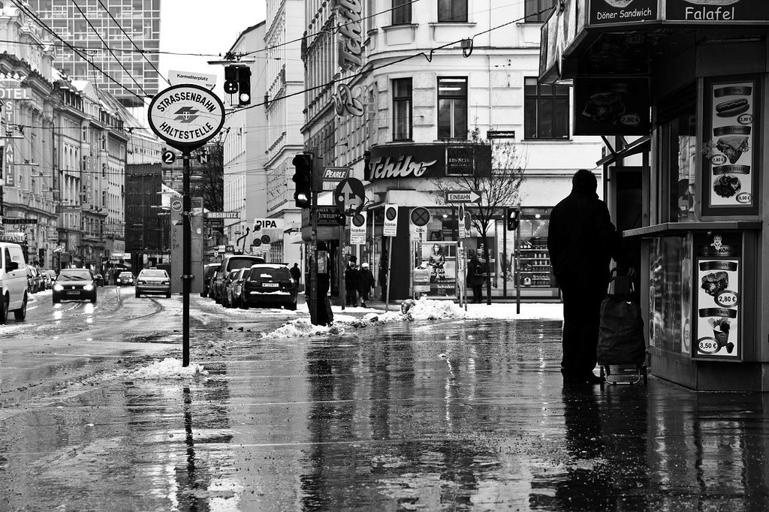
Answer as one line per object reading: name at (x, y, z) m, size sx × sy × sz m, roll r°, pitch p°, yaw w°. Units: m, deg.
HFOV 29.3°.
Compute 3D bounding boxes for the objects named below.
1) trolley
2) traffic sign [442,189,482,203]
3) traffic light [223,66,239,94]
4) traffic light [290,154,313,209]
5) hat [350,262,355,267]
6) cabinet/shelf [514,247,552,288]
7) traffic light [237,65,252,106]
trolley at (3.334, 0.972, 20.567) m, size 0.705 × 1.663 × 0.484 m, roll 1°, pitch -4°, yaw -3°
traffic sign at (2.210, -1.639, 41.474) m, size 0.889 × 0.390 × 0.998 m, roll 0°, pitch -5°, yaw 12°
traffic light at (-3.849, -4.459, 37.285) m, size 0.324 × 0.807 × 0.774 m, roll 1°, pitch -4°, yaw -6°
traffic light at (-1.811, -1.707, 33.149) m, size 0.438 × 1.239 × 1.060 m, roll 1°, pitch -4°, yaw -3°
hat at (-1.068, 0.330, 51.081) m, size 0.124 × 0.158 × 0.166 m, roll -1°, pitch -23°, yaw 2°
cabinet/shelf at (5.457, 0.462, 51.833) m, size 0.475 × 1.397 × 1.502 m, roll 4°, pitch -4°, yaw -42°
traffic light at (-3.496, -4.235, 37.014) m, size 0.312 × 1.062 × 1.051 m, roll 1°, pitch -4°, yaw -3°
